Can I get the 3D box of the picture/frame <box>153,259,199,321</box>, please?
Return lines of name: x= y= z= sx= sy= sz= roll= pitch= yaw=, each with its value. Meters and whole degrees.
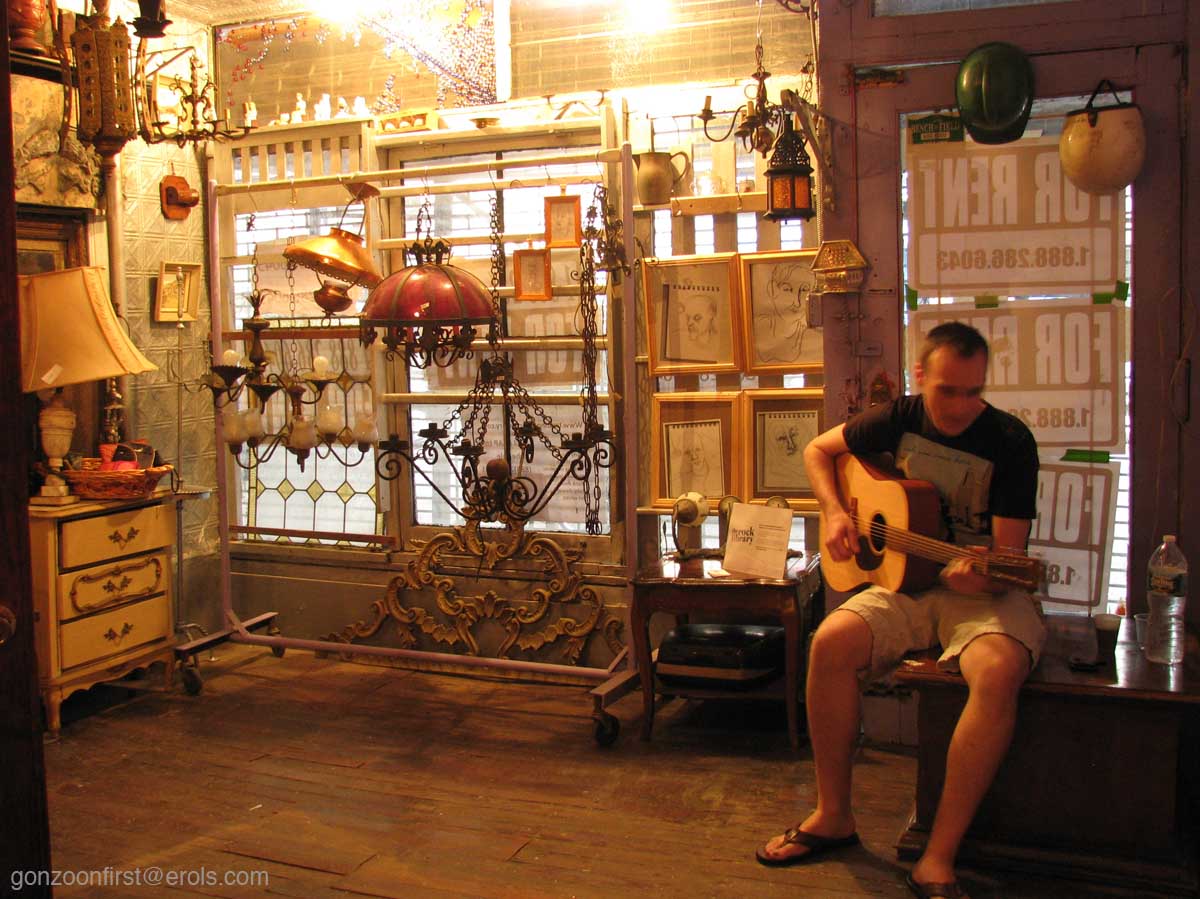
picture/frame: x=-2.289 y=-0.850 z=5.980 sx=0.076 sy=0.331 sz=0.338 roll=1 pitch=2 yaw=21

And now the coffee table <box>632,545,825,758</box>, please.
coffee table: x=0.560 y=0.834 z=4.916 sx=0.745 sy=0.681 sz=0.803 roll=0 pitch=1 yaw=7

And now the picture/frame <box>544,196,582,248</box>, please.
picture/frame: x=-0.174 y=-1.072 z=5.288 sx=0.229 sy=0.301 sz=0.033 roll=1 pitch=6 yaw=7

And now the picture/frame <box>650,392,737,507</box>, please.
picture/frame: x=0.456 y=-0.002 z=5.247 sx=0.511 sy=0.603 sz=0.047 roll=0 pitch=0 yaw=20

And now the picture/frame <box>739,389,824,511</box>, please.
picture/frame: x=0.824 y=-0.003 z=4.994 sx=0.525 sy=0.739 sz=0.058 roll=0 pitch=0 yaw=16

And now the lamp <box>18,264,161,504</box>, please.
lamp: x=-2.380 y=-0.310 z=5.136 sx=0.559 sy=1.028 sz=0.416 roll=-2 pitch=9 yaw=-3

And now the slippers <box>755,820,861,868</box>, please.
slippers: x=0.698 y=1.303 z=3.760 sx=0.320 sy=0.099 sz=0.129 roll=-1 pitch=-3 yaw=-12

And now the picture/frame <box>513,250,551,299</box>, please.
picture/frame: x=-0.328 y=-0.830 z=5.421 sx=0.233 sy=0.288 sz=0.206 roll=1 pitch=6 yaw=8

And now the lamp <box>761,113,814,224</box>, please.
lamp: x=0.775 y=-1.153 z=4.578 sx=0.184 sy=0.418 sz=0.204 roll=0 pitch=9 yaw=10
